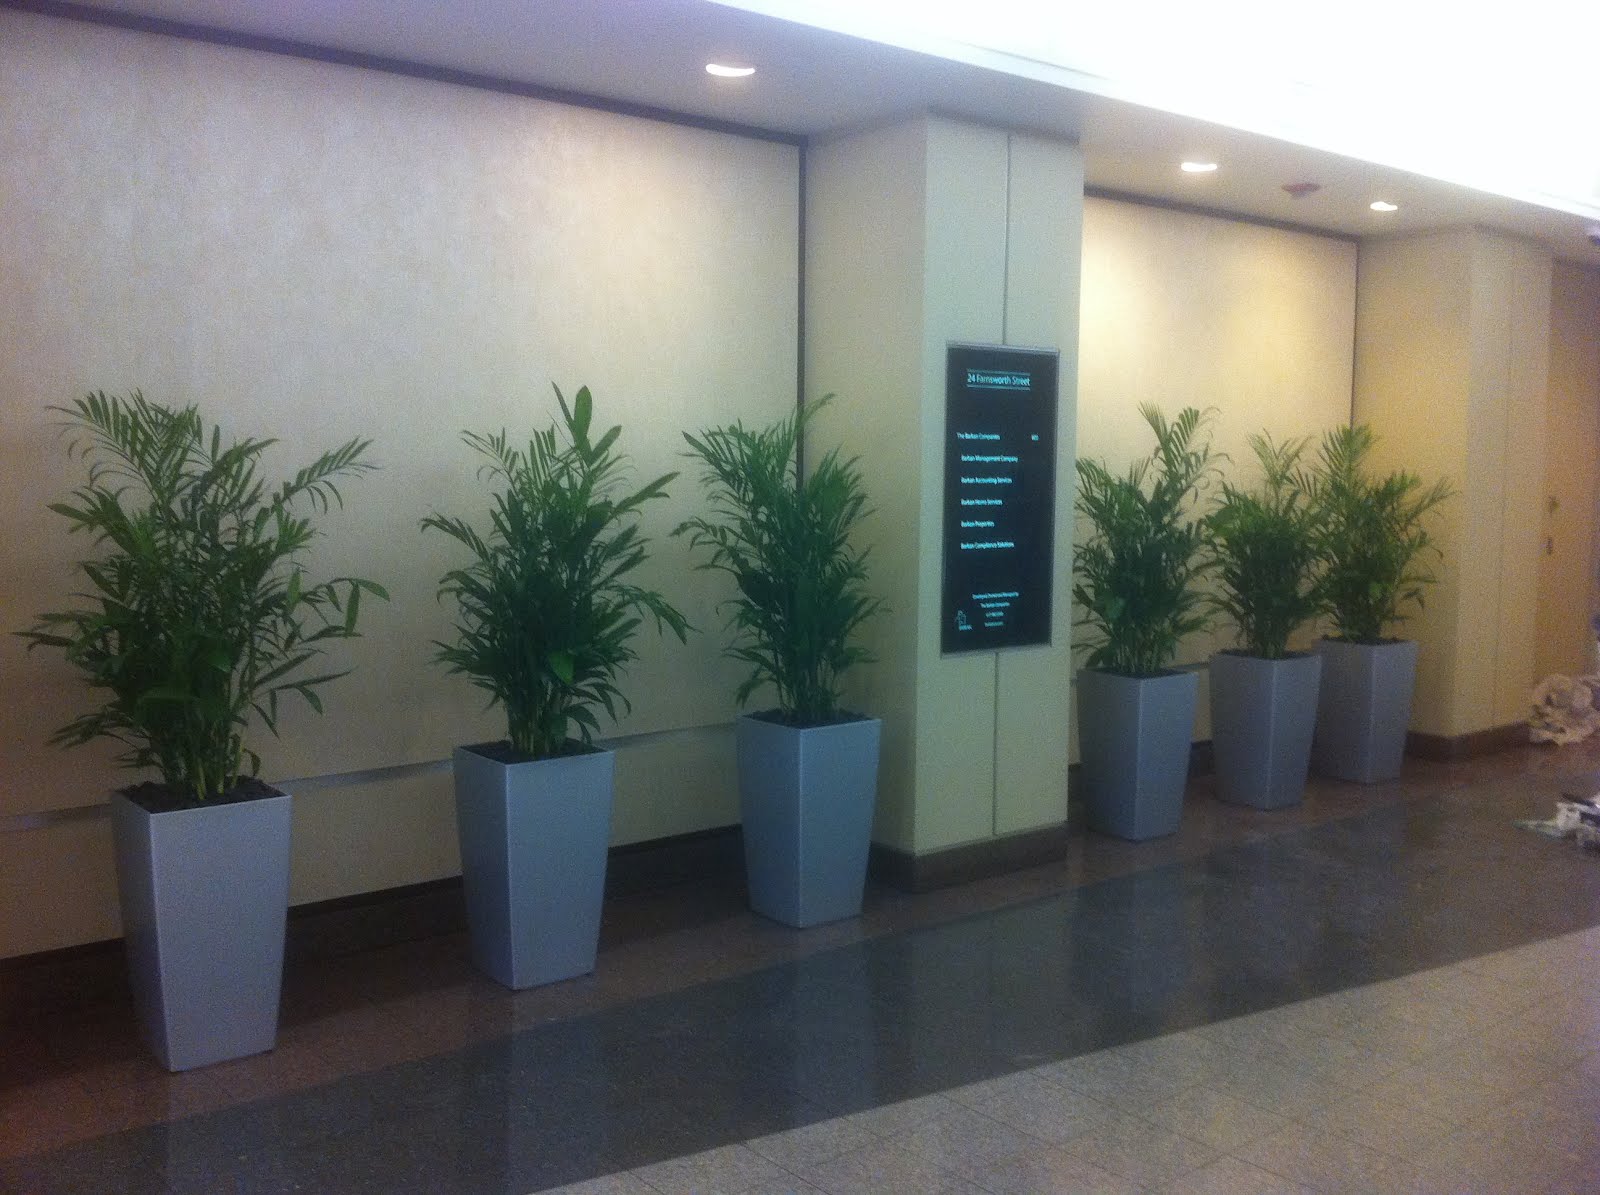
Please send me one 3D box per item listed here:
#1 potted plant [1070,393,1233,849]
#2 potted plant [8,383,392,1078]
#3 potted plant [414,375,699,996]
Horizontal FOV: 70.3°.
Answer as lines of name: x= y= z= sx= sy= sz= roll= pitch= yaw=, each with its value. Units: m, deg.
potted plant: x=1.797 y=0.057 z=6.037 sx=0.674 sy=2.141 sz=1.306 roll=2 pitch=7 yaw=16
potted plant: x=-1.928 y=0.351 z=3.685 sx=0.998 sy=2.046 sz=0.921 roll=-3 pitch=8 yaw=-23
potted plant: x=-0.931 y=0.273 z=4.257 sx=0.875 sy=2.106 sz=0.966 roll=-1 pitch=7 yaw=-9
